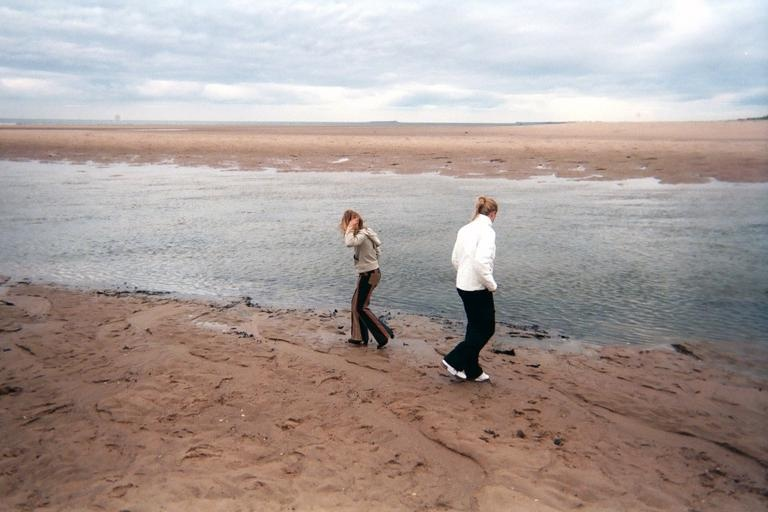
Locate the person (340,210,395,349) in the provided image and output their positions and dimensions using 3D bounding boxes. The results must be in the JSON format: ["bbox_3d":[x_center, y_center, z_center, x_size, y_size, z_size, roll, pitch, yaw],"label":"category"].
[{"bbox_3d":[-0.396,0.530,11.517,0.987,3.049,1.245,-1,23,-5],"label":"person"}]
